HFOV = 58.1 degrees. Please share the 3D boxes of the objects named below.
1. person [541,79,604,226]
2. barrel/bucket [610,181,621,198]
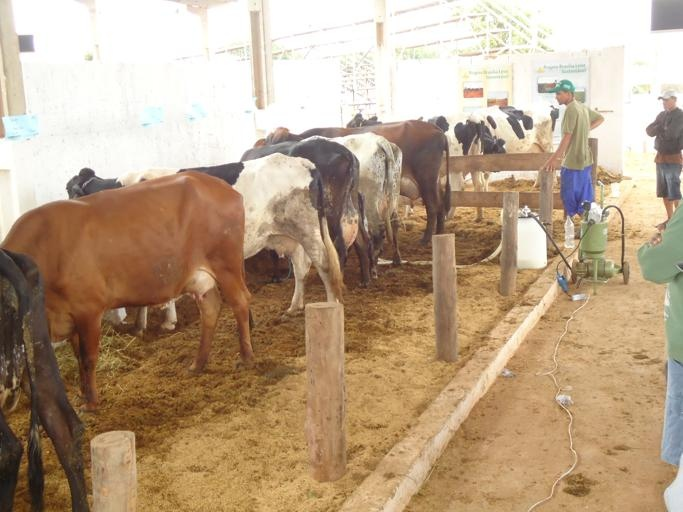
[{"bbox_3d":[3.176,-1.491,8.596,0.490,1.929,1.152,8,15,44],"label":"person"},{"bbox_3d":[5.579,-1.347,12.514,0.200,0.242,0.680,2,12,24],"label":"barrel/bucket"}]
